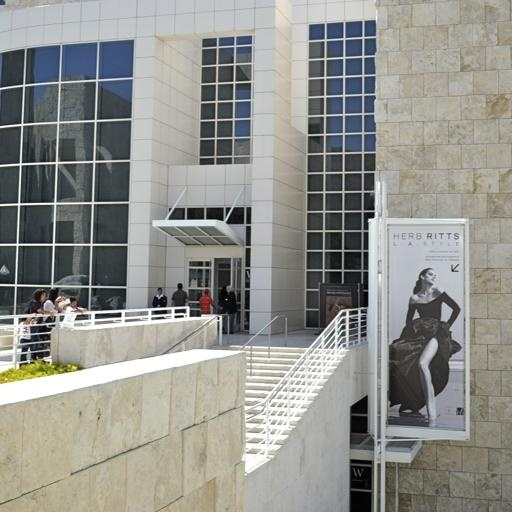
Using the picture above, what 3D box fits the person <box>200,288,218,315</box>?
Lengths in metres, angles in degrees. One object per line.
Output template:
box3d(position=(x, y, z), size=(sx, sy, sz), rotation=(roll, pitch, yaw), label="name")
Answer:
box3d(position=(-1.683, 1.565, 21.853), size=(0.400, 0.861, 0.759), rotation=(4, -4, -4), label="person")
